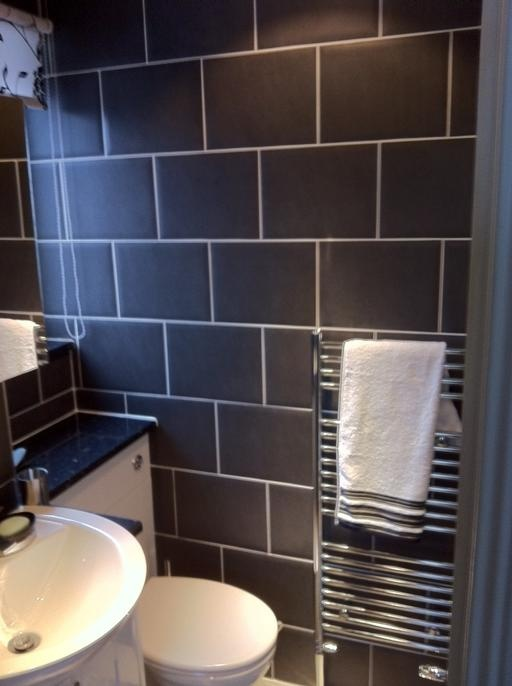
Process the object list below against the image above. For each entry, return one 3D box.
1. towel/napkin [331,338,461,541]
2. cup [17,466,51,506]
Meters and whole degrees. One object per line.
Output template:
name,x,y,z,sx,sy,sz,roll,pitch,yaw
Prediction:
towel/napkin,0.299,0.224,1.398,0.232,0.174,0.440,5,-63,17
cup,-0.465,0.295,1.278,0.061,0.065,0.084,0,-89,8
